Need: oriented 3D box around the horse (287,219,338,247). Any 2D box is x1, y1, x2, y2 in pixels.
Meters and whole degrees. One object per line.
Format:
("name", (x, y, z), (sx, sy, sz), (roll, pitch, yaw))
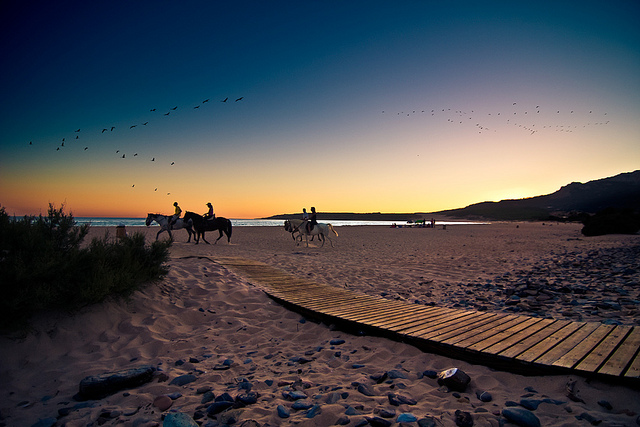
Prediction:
("horse", (-0.390, 1.110, 25.083), (3.174, 1.743, 0.718), (-1, 5, -5))
